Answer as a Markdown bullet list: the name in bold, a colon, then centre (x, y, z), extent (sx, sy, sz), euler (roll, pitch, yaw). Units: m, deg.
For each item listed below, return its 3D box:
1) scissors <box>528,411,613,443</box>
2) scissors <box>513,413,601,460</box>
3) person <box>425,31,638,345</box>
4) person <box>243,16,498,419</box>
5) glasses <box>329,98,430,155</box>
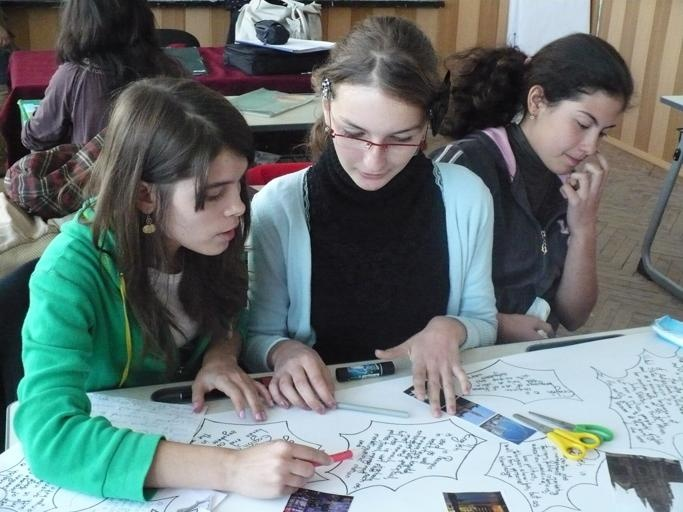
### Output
- **scissors**: centre (0.462, 0.318, 1.141), extent (0.112, 0.013, 0.050), euler (13, -1, 9)
- **scissors**: centre (0.421, 0.334, 1.123), extent (0.059, 0.012, 0.109), euler (-25, 28, -29)
- **person**: centre (0.635, 0.049, 2.088), extent (0.555, 1.584, 0.443), euler (8, 31, 23)
- **person**: centre (0.089, 0.002, 1.513), extent (0.621, 1.093, 0.672), euler (-4, 15, -13)
- **glasses**: centre (0.080, -0.306, 1.371), extent (0.245, 0.119, 0.160), euler (2, 21, 3)
